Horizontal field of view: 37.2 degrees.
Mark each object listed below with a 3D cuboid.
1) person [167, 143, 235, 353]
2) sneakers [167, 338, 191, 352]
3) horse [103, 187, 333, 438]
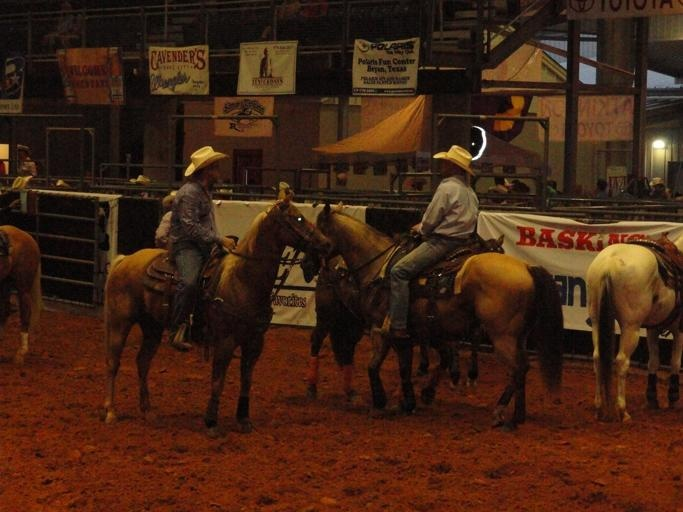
[{"bbox_3d":[-2.035,-0.116,14.702,0.897,2.960,0.897,7,6,18],"label":"person"},{"bbox_3d":[-2.299,1.294,14.429,0.270,0.122,0.158,22,-5,6],"label":"sneakers"},{"bbox_3d":[-2.025,0.842,14.911,3.631,3.655,1.219,3,4,20],"label":"horse"}]
